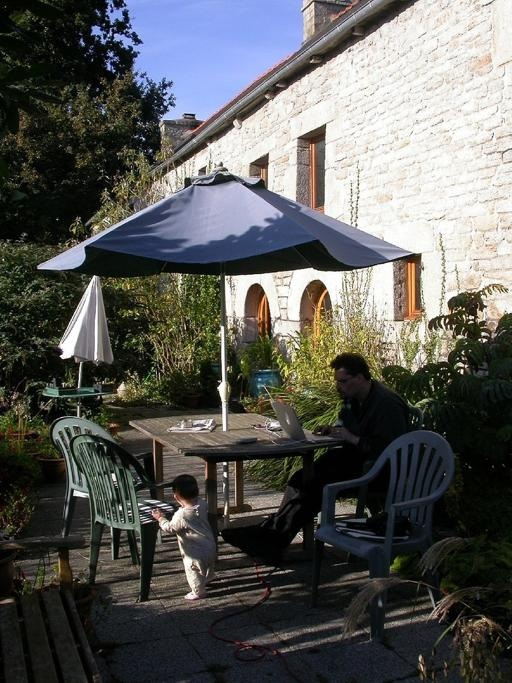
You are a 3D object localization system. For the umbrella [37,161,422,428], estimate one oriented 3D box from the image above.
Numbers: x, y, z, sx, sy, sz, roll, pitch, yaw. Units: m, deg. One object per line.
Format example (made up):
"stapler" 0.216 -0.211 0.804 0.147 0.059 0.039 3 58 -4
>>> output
"umbrella" -0.200 -0.313 4.092 2.341 1.452 2.359 -3 13 -23

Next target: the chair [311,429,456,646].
"chair" 0.623 0.801 2.859 0.460 0.700 0.509 1 5 -16

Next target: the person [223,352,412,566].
"person" 0.446 0.662 4.060 1.495 1.476 0.780 0 -1 -4

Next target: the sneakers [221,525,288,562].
"sneakers" 0.006 1.105 3.436 0.277 0.098 0.220 23 3 40

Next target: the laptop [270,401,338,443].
"laptop" 0.271 0.442 3.644 0.263 0.173 0.260 -1 5 -16
